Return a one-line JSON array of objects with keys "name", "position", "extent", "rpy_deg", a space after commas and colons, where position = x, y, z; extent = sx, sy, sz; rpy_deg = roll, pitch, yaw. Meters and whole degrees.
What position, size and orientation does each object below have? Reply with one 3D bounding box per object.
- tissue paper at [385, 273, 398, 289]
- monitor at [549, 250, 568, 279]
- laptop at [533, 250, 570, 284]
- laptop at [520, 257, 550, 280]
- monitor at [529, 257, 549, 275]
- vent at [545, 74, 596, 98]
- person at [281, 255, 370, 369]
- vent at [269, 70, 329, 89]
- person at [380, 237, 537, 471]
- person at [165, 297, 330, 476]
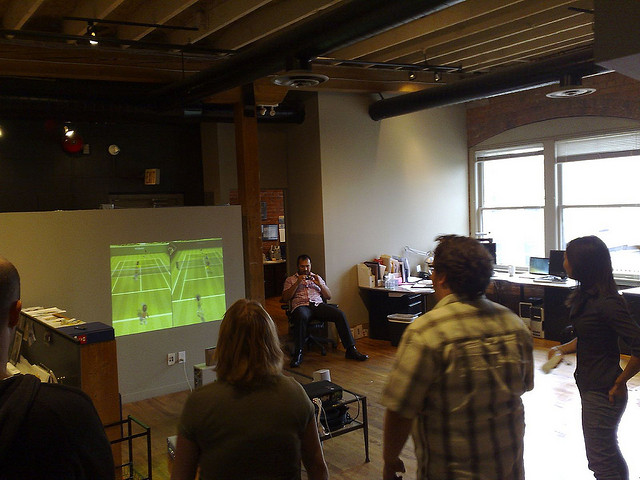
[{"name": "tissue paper", "position": [1.127, 0.663, 7.642], "extent": [0.207, 0.222, 0.203], "rpy_deg": [0, 1, -33]}, {"name": "monitor", "position": [3.530, 0.369, 7.125], "extent": [0.191, 0.424, 0.359], "rpy_deg": [-2, 3, 8]}, {"name": "laptop", "position": [3.433, 0.366, 7.020], "extent": [0.400, 0.460, 0.480], "rpy_deg": [-2, -2, -22]}, {"name": "laptop", "position": [3.391, 0.433, 7.527], "extent": [0.305, 0.263, 0.393], "rpy_deg": [-1, 2, -33]}, {"name": "monitor", "position": [3.444, 0.400, 7.581], "extent": [0.318, 0.292, 0.237], "rpy_deg": [0, -1, 42]}, {"name": "vent", "position": [2.612, -1.578, 5.041], "extent": [0.335, 0.121, 0.334], "rpy_deg": [-1, -4, 1]}, {"name": "person", "position": [-0.097, 0.945, 6.881], "extent": [1.166, 1.485, 1.315], "rpy_deg": [0, -5, -39]}, {"name": "vent", "position": [-0.163, -1.359, 4.098], "extent": [0.238, 0.067, 0.239], "rpy_deg": [-1, 1, 9]}, {"name": "person", "position": [0.587, 0.512, 2.040], "extent": [0.651, 1.036, 0.291], "rpy_deg": [-2, 3, 10]}, {"name": "person", "position": [-0.304, 0.668, 2.009], "extent": [0.631, 0.805, 0.270], "rpy_deg": [-2, 3, -1]}]
